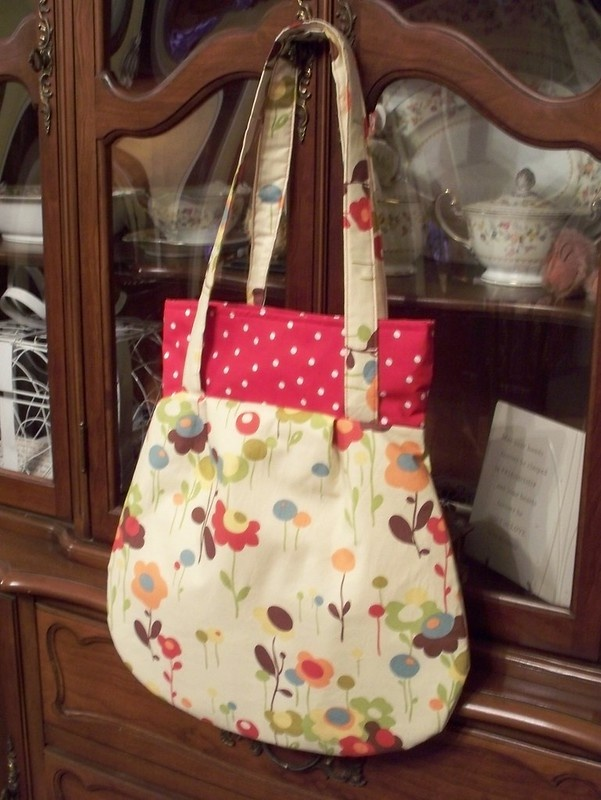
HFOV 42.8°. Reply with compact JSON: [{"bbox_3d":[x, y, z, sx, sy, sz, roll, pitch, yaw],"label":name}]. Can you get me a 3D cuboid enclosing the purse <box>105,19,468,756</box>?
[{"bbox_3d":[-0.005,-0.007,0.834,0.431,0.762,0.156,6,13,19],"label":"purse"}]
